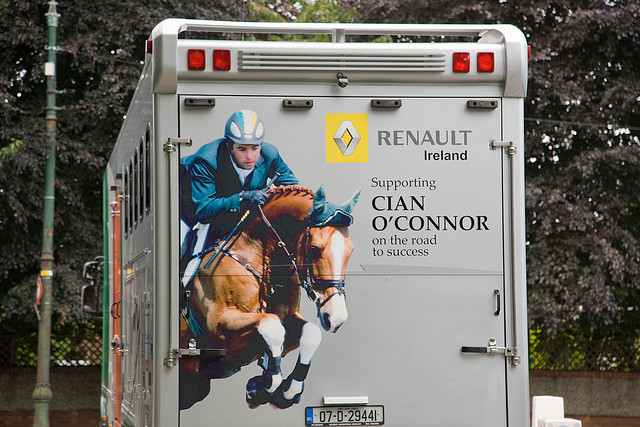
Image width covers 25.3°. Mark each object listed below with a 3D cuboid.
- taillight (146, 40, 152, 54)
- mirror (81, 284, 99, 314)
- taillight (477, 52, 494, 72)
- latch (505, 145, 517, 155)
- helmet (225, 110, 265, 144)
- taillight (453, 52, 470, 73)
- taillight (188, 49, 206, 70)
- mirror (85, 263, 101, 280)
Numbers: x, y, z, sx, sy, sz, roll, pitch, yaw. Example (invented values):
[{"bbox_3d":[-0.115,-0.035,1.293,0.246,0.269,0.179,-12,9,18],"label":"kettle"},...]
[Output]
[{"bbox_3d":[-2.550,-2.513,21.300,0.041,0.235,0.396,-5,14,-15],"label":"taillight"},{"bbox_3d":[-4.107,1.535,25.538,0.320,0.493,0.464,-4,13,-12],"label":"mirror"},{"bbox_3d":[2.444,-2.271,21.245,0.247,0.279,0.103,-1,12,1],"label":"taillight"},{"bbox_3d":[2.806,-0.963,21.144,0.175,0.129,0.037,-2,12,0],"label":"latch"},{"bbox_3d":[-1.121,-1.285,21.020,0.528,0.602,0.410,-8,19,-23],"label":"helmet"},{"bbox_3d":[2.080,-2.271,21.212,0.241,0.284,0.114,0,12,5],"label":"taillight"},{"bbox_3d":[-1.833,-2.280,21.067,0.256,0.299,0.271,1,-6,-10],"label":"taillight"},{"bbox_3d":[-4.081,1.026,25.626,0.358,0.364,0.137,6,-1,-44],"label":"mirror"}]
